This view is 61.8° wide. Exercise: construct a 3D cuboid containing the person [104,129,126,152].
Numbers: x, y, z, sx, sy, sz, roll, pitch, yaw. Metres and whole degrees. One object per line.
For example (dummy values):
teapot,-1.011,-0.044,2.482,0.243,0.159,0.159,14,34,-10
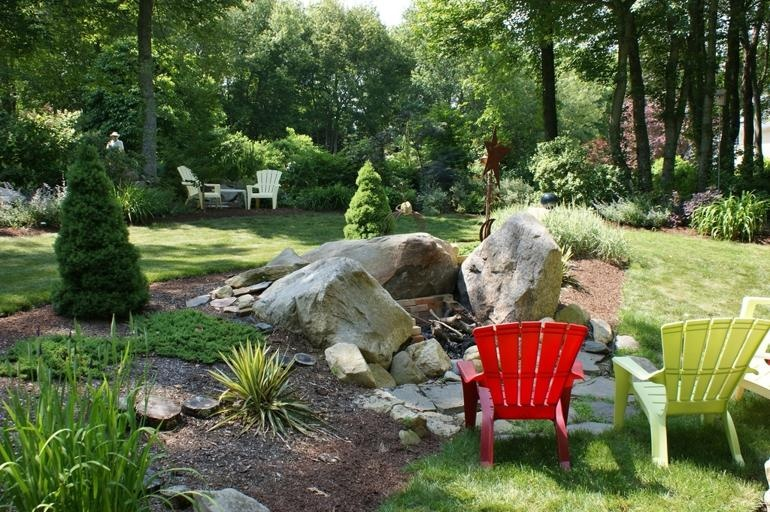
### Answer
person,-7.377,-3.126,17.498,0.412,0.523,1.084,-1,7,-23
